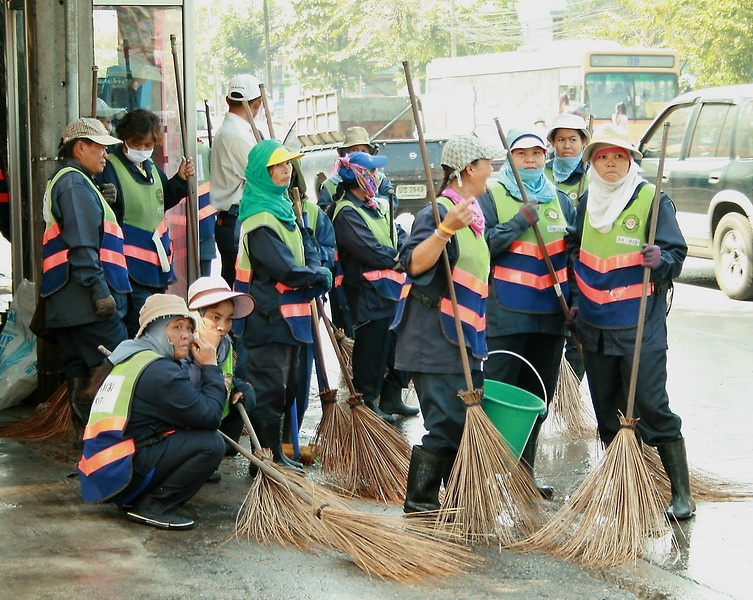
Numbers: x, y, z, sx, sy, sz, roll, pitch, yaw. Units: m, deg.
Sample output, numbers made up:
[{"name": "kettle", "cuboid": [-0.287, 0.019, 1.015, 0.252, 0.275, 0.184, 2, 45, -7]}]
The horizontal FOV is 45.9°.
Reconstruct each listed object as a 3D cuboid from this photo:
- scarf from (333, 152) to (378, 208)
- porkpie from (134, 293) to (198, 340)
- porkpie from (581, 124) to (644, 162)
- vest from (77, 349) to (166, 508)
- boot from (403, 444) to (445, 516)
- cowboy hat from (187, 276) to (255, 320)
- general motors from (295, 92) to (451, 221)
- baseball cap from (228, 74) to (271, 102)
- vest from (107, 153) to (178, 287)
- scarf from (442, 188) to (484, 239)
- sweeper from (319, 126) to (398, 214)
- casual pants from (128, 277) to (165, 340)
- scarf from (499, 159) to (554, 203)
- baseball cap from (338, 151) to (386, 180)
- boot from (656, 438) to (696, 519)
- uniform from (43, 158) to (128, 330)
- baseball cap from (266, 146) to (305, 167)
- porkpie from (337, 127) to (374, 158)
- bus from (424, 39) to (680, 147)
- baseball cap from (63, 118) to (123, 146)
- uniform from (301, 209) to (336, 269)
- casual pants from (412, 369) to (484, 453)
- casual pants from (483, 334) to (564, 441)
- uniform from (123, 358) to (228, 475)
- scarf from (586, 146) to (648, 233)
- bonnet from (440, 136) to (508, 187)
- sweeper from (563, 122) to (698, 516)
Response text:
[{"name": "scarf", "cuboid": [-0.113, -0.951, 6.613, 0.360, 0.304, 0.214, 14, 19, 0]}, {"name": "porkpie", "cuboid": [-1.106, 0.090, 4.677, 0.273, 0.135, 0.225, -14, -21, 9]}, {"name": "porkpie", "cuboid": [1.362, -0.903, 5.087, 0.274, 0.136, 0.218, 3, -9, -22]}, {"name": "vest", "cuboid": [-1.294, 0.654, 4.533, 0.451, 0.751, 0.259, -5, 16, -14]}, {"name": "boot", "cuboid": [0.249, 0.958, 4.696, 0.212, 0.348, 0.135, 0, 15, 4]}, {"name": "cowboy hat", "cuboid": [-0.958, -0.041, 5.102, 0.364, 0.168, 0.326, -12, -2, 6]}, {"name": "general motors", "cuboid": [-0.502, -2.387, 16.740, 2.450, 2.355, 4.680, 5, 7, 2]}, {"name": "baseball cap", "cuboid": [-0.976, -1.589, 6.725, 0.244, 0.172, 0.323, 6, 15, 13]}, {"name": "vest", "cuboid": [-1.626, -0.560, 6.182, 0.486, 0.902, 0.450, -5, 0, 39]}, {"name": "scarf", "cuboid": [0.493, -0.490, 4.811, 0.110, 0.267, 0.223, -32, -3, 13]}, {"name": "sweeper", "cuboid": [0.042, -1.151, 7.524, 1.024, 0.571, 0.536, -2, 4, -7]}, {"name": "casual pants", "cuboid": [-1.578, 0.052, 6.135, 0.309, 0.363, 0.241, 3, -2, -17]}, {"name": "scarf", "cuboid": [0.945, -0.753, 5.651, 0.260, 0.161, 0.336, 4, 3, -22]}, {"name": "baseball cap", "cuboid": [-0.094, -0.981, 6.593, 0.326, 0.113, 0.199, -20, 32, -9]}, {"name": "boot", "cuboid": [1.656, 0.992, 4.914, 0.221, 0.392, 0.277, 2, 15, 12]}, {"name": "uniform", "cuboid": [-1.844, -0.335, 5.581, 0.541, 1.020, 0.472, -5, 16, -15]}, {"name": "baseball cap", "cuboid": [-0.573, -0.853, 5.404, 0.135, 0.061, 0.192, -17, 9, -42]}, {"name": "porkpie", "cuboid": [-0.167, -1.365, 7.746, 0.376, 0.199, 0.390, 0, -17, -5]}, {"name": "bus", "cuboid": [4.536, -4.880, 22.336, 2.002, 2.767, 6.138, -5, 12, -18]}, {"name": "baseball cap", "cuboid": [-1.813, -1.065, 5.669, 0.276, 0.133, 0.196, -8, 7, -6]}, {"name": "uniform", "cuboid": [-0.456, -0.455, 6.281, 0.161, 0.389, 0.299, -11, 15, 25]}, {"name": "casual pants", "cuboid": [0.336, 0.558, 4.942, 0.411, 0.560, 0.440, -4, 6, -18]}, {"name": "casual pants", "cuboid": [1.099, 0.522, 5.396, 0.627, 0.592, 0.539, 5, 2, -39]}, {"name": "uniform", "cuboid": [-1.049, 0.597, 4.843, 0.588, 0.668, 0.556, 0, 4, -14]}, {"name": "scarf", "cuboid": [1.350, -0.596, 5.175, 0.242, 0.399, 0.334, -4, 8, -35]}, {"name": "bonnet", "cuboid": [0.510, -0.781, 4.781, 0.330, 0.166, 0.204, -27, 19, 2]}, {"name": "sweeper", "cuboid": [1.468, 0.069, 5.117, 0.521, 2.092, 1.163, -3, 15, -7]}]
